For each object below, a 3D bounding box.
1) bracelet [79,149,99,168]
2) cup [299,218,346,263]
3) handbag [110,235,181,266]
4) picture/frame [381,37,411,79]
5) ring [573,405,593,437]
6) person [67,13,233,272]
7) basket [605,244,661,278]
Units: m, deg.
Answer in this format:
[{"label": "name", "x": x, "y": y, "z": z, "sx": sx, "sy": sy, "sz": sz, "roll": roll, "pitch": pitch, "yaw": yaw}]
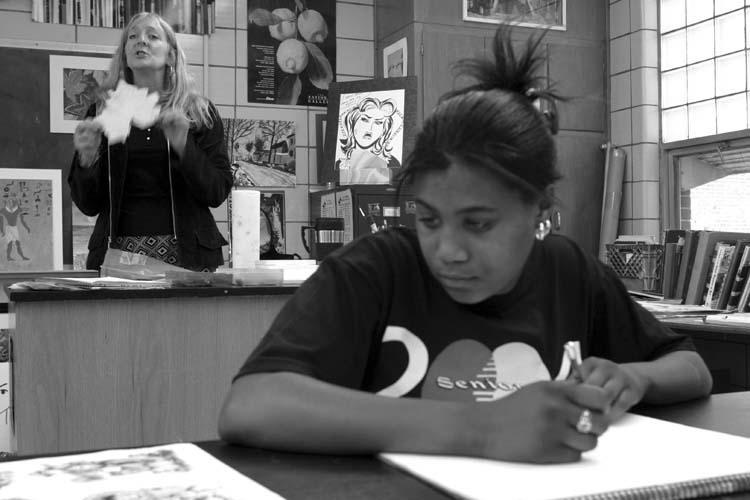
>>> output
[{"label": "bracelet", "x": -1.023, "y": -0.329, "z": 2.673, "sx": 0.061, "sy": 0.046, "sz": 0.053, "roll": 2, "pitch": 0, "yaw": 7}, {"label": "cup", "x": -0.199, "y": -0.034, "z": 2.793, "sx": 0.157, "sy": 0.158, "sz": 0.090, "roll": -1, "pitch": -8, "yaw": -11}, {"label": "handbag", "x": -0.831, "y": 0.011, "z": 2.698, "sx": 0.186, "sy": 0.151, "sz": 0.119, "roll": -1, "pitch": -2, "yaw": 2}, {"label": "picture/frame", "x": 0.131, "y": -1.304, "z": 5.141, "sx": 0.011, "sy": 0.198, "sz": 0.200, "roll": 4, "pitch": 21, "yaw": 42}, {"label": "ring", "x": 0.333, "y": 0.277, "z": 1.195, "sx": 0.025, "sy": 0.037, "sz": 0.009, "roll": 13, "pitch": -9, "yaw": 9}, {"label": "person", "x": -0.818, "y": -0.383, "z": 2.723, "sx": 0.575, "sy": 0.939, "sz": 0.337, "roll": -5, "pitch": 13, "yaw": -21}, {"label": "basket", "x": 1.084, "y": 0.037, "z": 3.228, "sx": 0.199, "sy": 0.143, "sz": 0.131, "roll": 3, "pitch": 7, "yaw": 26}]
